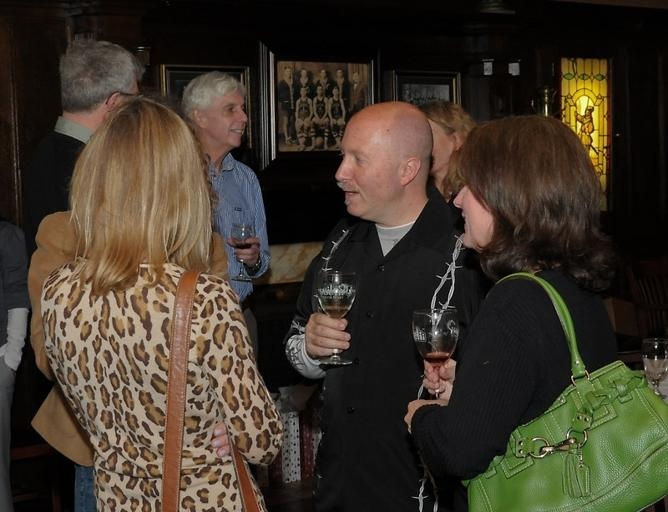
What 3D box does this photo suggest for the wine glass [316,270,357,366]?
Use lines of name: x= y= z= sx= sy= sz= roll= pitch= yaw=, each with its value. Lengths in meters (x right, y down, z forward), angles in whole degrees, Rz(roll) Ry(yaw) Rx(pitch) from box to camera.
wine glass: x=0.008 y=0.217 z=2.413 sx=0.130 sy=0.348 sz=0.202 roll=3 pitch=8 yaw=3
